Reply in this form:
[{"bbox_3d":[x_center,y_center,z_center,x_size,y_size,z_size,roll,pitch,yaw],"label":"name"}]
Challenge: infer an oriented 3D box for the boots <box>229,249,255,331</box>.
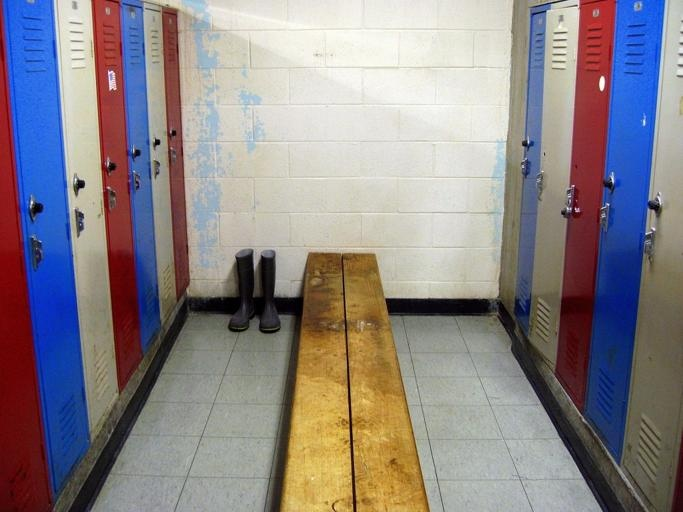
[{"bbox_3d":[-0.776,0.261,4.226,0.148,0.597,0.283,4,14,10],"label":"boots"}]
